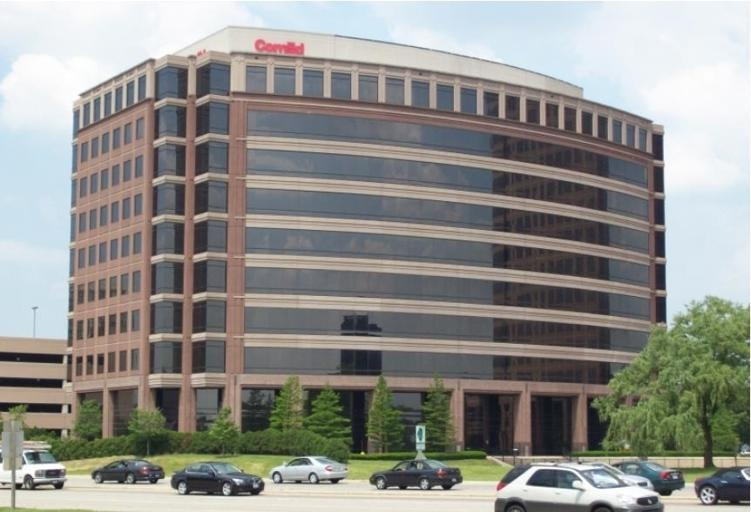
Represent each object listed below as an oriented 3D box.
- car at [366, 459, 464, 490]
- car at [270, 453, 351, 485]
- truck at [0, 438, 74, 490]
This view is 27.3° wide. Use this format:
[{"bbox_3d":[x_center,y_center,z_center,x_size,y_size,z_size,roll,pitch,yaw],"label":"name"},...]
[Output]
[{"bbox_3d":[3.454,18.425,129.677,6.822,2.032,2.957,-1,-12,20],"label":"car"},{"bbox_3d":[-5.940,18.595,135.308,5.710,1.716,2.648,-2,-9,26],"label":"car"},{"bbox_3d":[-30.359,17.919,134.513,8.829,3.983,4.870,-11,-14,41],"label":"truck"}]
